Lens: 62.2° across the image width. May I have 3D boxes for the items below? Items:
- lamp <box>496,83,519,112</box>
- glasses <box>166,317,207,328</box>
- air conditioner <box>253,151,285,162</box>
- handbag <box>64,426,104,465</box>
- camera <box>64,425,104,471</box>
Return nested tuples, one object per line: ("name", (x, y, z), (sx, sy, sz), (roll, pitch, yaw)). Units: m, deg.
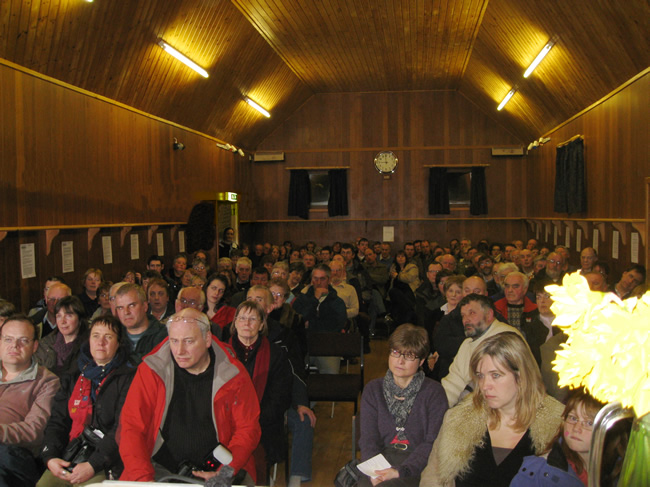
("lamp", (4.070, -3.317, 11.795), (0.206, 0.219, 1.063), (32, -17, 2))
("glasses", (-0.883, 0.523, 3.494), (0.262, 0.085, 0.155), (0, -3, -19))
("air conditioner", (-1.539, -2.416, 14.851), (0.909, 0.324, 0.257), (-1, -3, 2))
("handbag", (-1.626, 1.382, 3.657), (0.085, 0.216, 0.165), (48, -31, -10))
("camera", (-1.616, 1.385, 3.665), (0.098, 0.246, 0.175), (26, -24, 26))
